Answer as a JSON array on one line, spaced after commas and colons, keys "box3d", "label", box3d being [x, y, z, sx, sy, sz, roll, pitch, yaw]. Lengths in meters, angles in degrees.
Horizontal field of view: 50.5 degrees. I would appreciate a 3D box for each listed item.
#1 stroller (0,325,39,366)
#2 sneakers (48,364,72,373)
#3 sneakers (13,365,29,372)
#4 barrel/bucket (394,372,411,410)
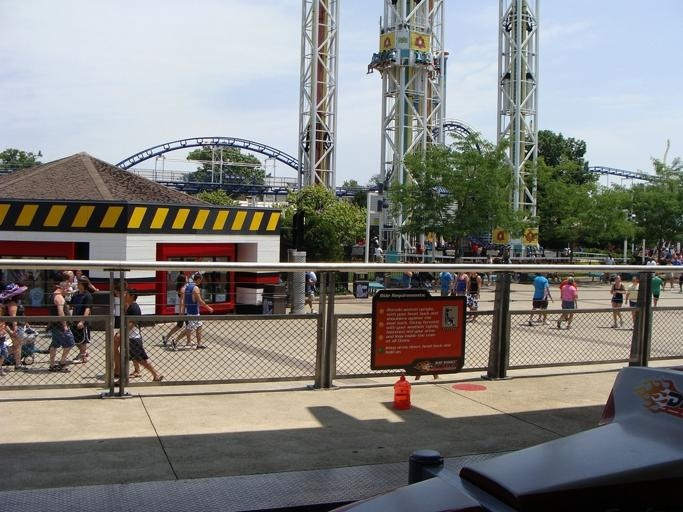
[{"box3d": [-4.138, 1.142, 9.410, 0.582, 0.520, 0.361, -4, 9, -32], "label": "stroller"}, {"box3d": [-3.681, 1.486, 9.509, 0.306, 0.117, 0.105, 0, -2, -12], "label": "sneakers"}, {"box3d": [-4.131, 1.481, 9.371, 0.152, 0.057, 0.053, 0, 12, -19], "label": "sneakers"}, {"box3d": [0.762, 1.702, 9.065, 0.218, 0.423, 0.203, 2, 4, 0], "label": "barrel/bucket"}]
